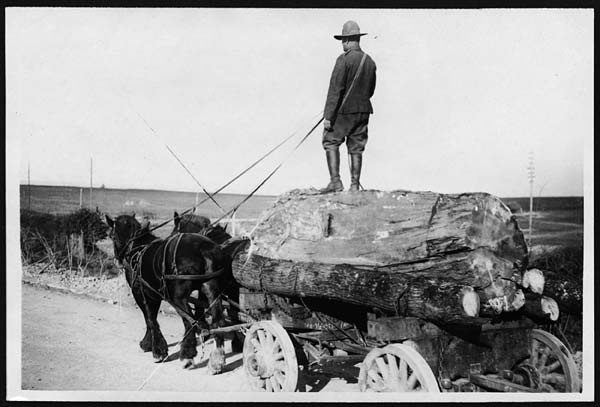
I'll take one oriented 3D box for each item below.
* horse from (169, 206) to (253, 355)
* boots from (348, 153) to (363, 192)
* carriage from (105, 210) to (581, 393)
[{"bbox_3d":[-1.879,1.491,11.196,0.626,2.029,2.702,-1,18,-20],"label":"horse"},{"bbox_3d":[0.958,-0.537,10.323,0.187,0.757,0.177,-2,-32,9],"label":"boots"},{"bbox_3d":[0.326,1.710,9.927,7.600,2.822,2.842,3,12,37],"label":"carriage"}]
